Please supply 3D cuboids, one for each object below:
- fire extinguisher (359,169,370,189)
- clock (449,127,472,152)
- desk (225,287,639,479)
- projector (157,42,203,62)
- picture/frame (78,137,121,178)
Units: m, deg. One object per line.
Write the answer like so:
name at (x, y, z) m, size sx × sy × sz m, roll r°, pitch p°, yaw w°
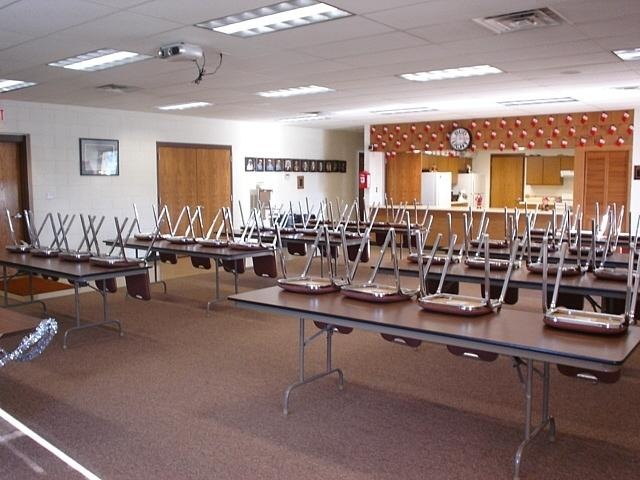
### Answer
fire extinguisher at (1.088, -1.474, 12.219) m, size 0.213 × 0.415 × 0.178 m, roll -8°, pitch 11°, yaw -43°
clock at (3.045, -2.177, 10.871) m, size 0.126 × 0.426 × 0.412 m, roll 0°, pitch 16°, yaw -46°
desk at (0.732, 0.898, 3.305) m, size 2.253 × 0.901 × 0.842 m, roll 5°, pitch 10°, yaw 32°
projector at (-1.380, -1.869, 5.027) m, size 0.425 × 0.140 × 0.250 m, roll -3°, pitch 9°, yaw -16°
picture/frame at (-4.119, -1.528, 9.346) m, size 0.805 × 0.823 × 0.056 m, roll -2°, pitch 3°, yaw -41°
